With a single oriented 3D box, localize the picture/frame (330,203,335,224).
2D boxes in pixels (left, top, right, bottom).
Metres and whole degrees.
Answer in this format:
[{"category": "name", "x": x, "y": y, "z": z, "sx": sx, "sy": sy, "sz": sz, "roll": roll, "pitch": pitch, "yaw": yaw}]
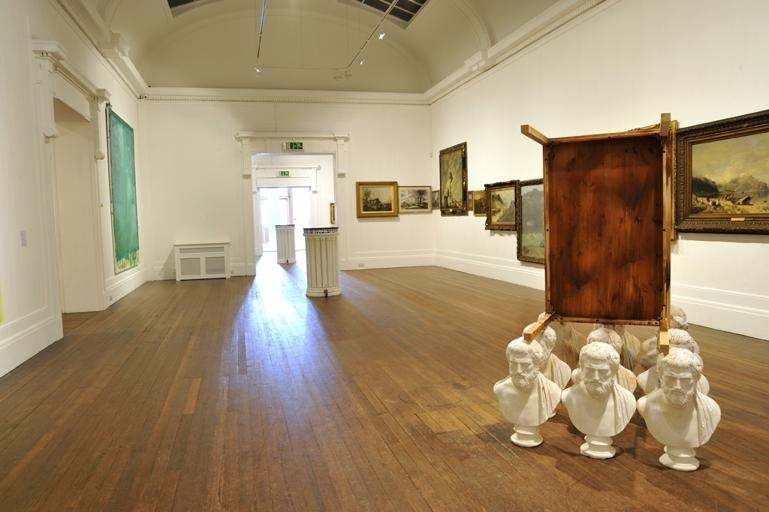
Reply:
[{"category": "picture/frame", "x": -2.455, "y": -2.096, "z": 22.965, "sx": 0.134, "sy": 0.945, "sz": 0.491, "roll": -5, "pitch": 10, "yaw": -23}]
